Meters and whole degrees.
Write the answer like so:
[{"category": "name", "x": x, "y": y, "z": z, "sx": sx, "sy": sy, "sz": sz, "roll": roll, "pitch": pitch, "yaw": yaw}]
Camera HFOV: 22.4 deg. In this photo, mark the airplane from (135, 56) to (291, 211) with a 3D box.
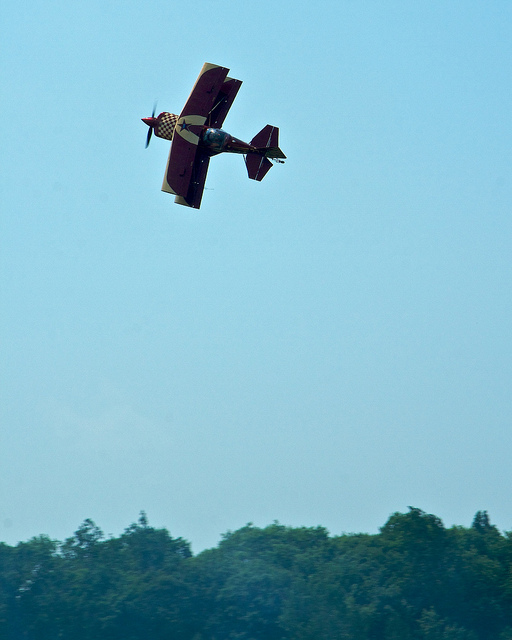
[{"category": "airplane", "x": -2.100, "y": -9.284, "z": 65.958, "sx": 7.953, "sy": 2.935, "sz": 7.454, "roll": 13, "pitch": -65, "yaw": 0}]
